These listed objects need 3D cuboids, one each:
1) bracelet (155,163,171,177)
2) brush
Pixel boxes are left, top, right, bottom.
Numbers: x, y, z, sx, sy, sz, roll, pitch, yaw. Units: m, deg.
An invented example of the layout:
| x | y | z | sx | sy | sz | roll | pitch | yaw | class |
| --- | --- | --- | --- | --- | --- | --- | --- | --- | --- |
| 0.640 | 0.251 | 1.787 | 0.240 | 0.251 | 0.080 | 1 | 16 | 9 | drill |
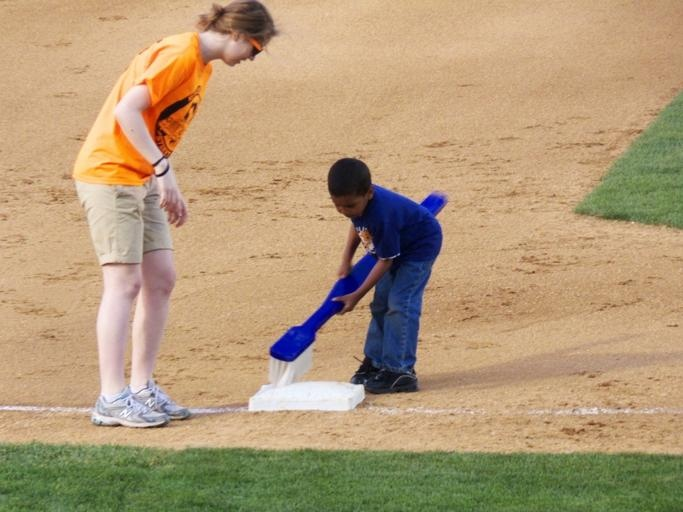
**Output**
| x | y | z | sx | sy | sz | roll | pitch | yaw | class |
| --- | --- | --- | --- | --- | --- | --- | --- | --- | --- |
| -1.940 | -0.908 | 18.726 | 0.142 | 0.037 | 0.143 | -28 | 24 | -14 | bracelet |
| 0.218 | 0.495 | 20.603 | 0.404 | 3.196 | 0.442 | 42 | -10 | 42 | brush |
